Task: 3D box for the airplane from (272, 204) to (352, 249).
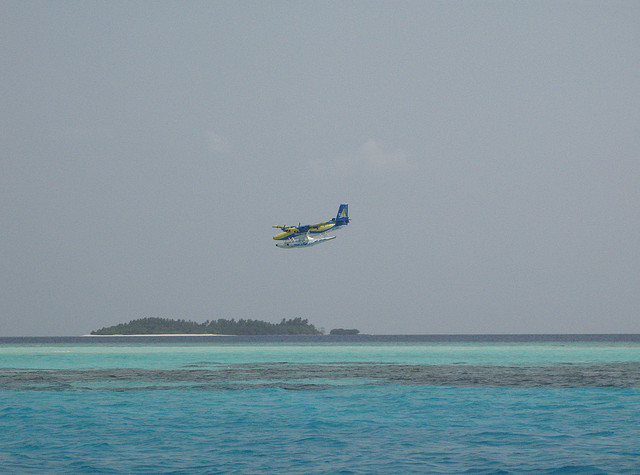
[{"bbox_3d":[-1.188,-1.036,125.508,9.782,3.268,8.810,-12,8,9],"label":"airplane"}]
